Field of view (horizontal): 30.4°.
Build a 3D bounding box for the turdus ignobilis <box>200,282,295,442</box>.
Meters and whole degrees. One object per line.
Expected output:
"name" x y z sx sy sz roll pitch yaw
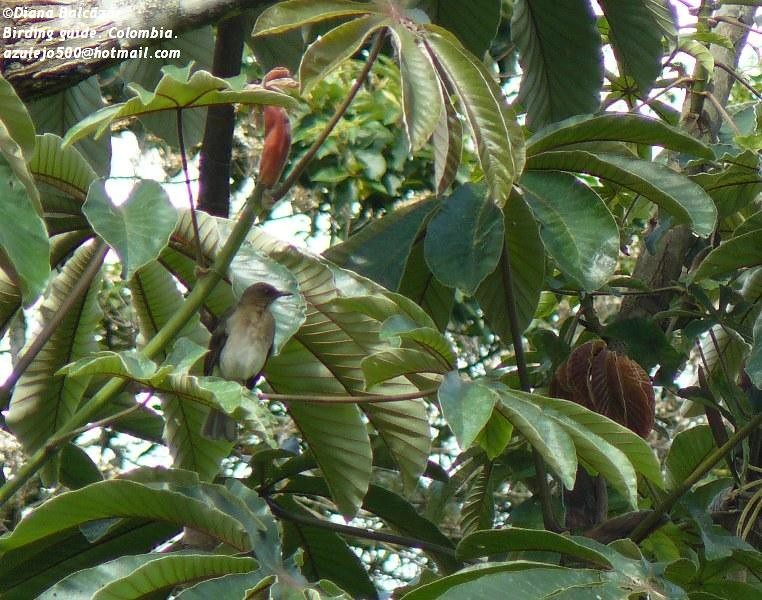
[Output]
"turdus ignobilis" -0.270 0.107 2.599 0.093 0.258 0.236 17 -25 -26
